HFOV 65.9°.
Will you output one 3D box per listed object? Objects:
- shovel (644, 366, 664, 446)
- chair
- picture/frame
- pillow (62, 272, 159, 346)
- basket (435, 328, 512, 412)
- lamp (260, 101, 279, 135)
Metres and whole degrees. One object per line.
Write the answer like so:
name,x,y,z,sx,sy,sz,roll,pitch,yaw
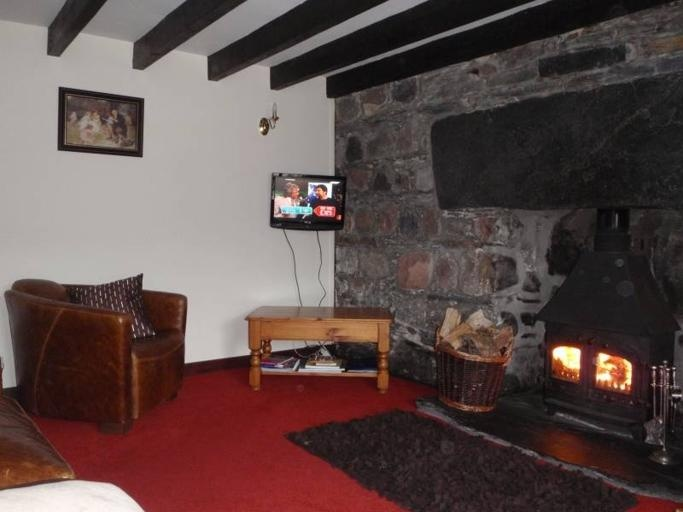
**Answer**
shovel,1.919,0.917,3.217,0.095,0.477,0.249,5,13,25
chair,-1.761,0.623,3.799,1.110,0.941,0.912,1,2,7
picture/frame,-1.924,-1.063,4.142,0.582,0.478,0.043,0,1,-30
pillow,-1.571,0.369,3.777,0.145,0.502,0.486,-26,-14,40
basket,0.886,0.826,3.737,0.430,0.504,0.499,6,-12,-4
lamp,-0.668,-1.260,4.855,0.075,0.292,0.211,9,15,39
